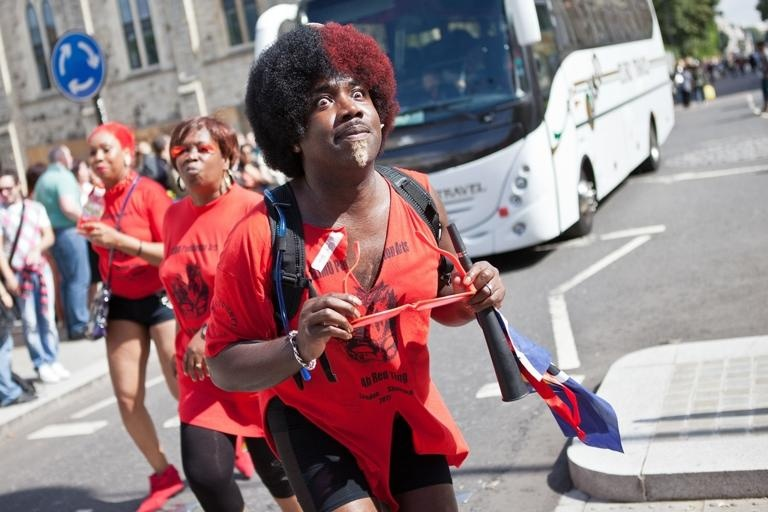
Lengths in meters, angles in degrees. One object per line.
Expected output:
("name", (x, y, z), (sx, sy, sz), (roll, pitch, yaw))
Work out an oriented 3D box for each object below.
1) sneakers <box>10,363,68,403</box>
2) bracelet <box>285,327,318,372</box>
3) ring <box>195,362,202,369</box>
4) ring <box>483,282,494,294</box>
("sneakers", (-3.867, 1.433, 9.432), (0.453, 0.211, 0.162), (16, 11, 18))
("bracelet", (-0.406, 0.468, 4.185), (0.053, 0.193, 0.145), (-18, 15, 9))
("ring", (-1.175, 0.685, 5.415), (0.034, 0.050, 0.046), (-6, 15, -21))
("ring", (0.540, 0.164, 4.433), (0.039, 0.055, 0.014), (-3, 7, -5))
